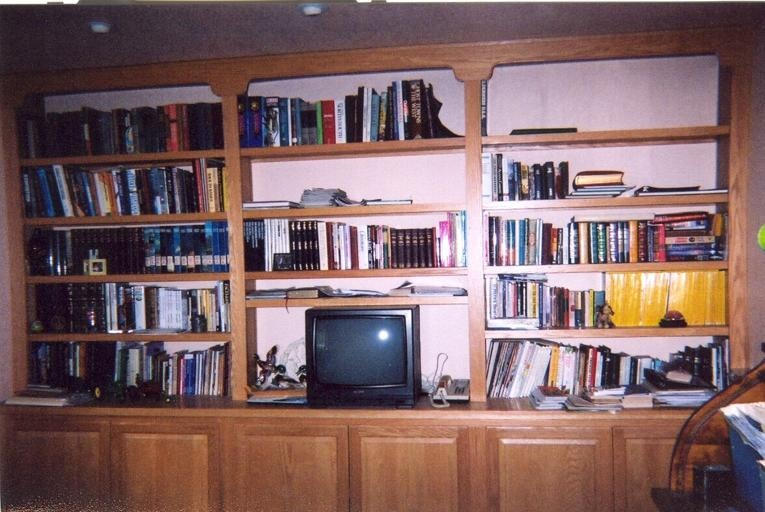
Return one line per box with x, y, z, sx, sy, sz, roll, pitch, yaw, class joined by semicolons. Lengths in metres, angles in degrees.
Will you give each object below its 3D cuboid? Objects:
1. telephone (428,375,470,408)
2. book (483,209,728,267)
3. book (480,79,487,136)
0.469;0.856;4.604;0.236;0.110;0.387;5;7;9;telephone
1.385;-0.113;4.395;1.465;0.329;0.073;0;-2;3;book
0.642;-0.937;4.424;0.027;0.349;0.063;-1;-2;37;book
